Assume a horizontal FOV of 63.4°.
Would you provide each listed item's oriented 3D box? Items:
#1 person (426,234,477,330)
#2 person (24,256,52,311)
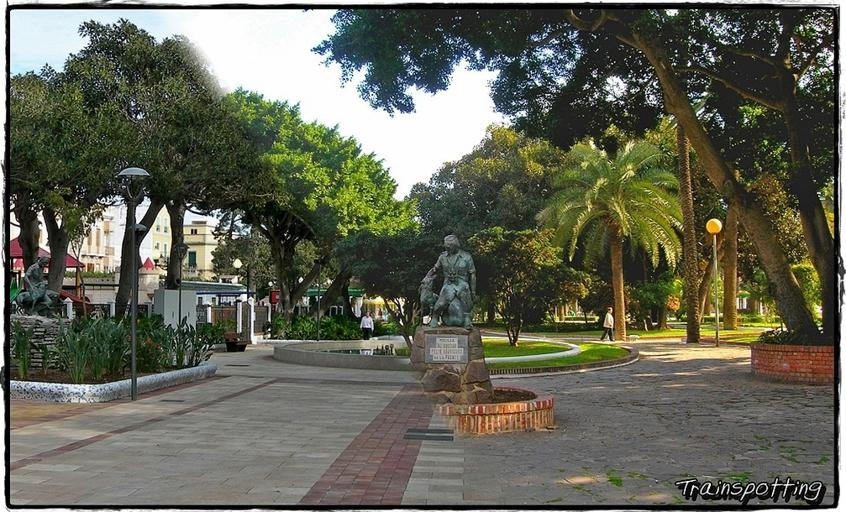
[{"bbox_3d":[0.716,0.643,17.416,1.155,2.284,0.636,-1,-6,0],"label":"person"},{"bbox_3d":[-13.394,0.991,23.884,0.844,1.944,1.121,4,-8,-34],"label":"person"}]
